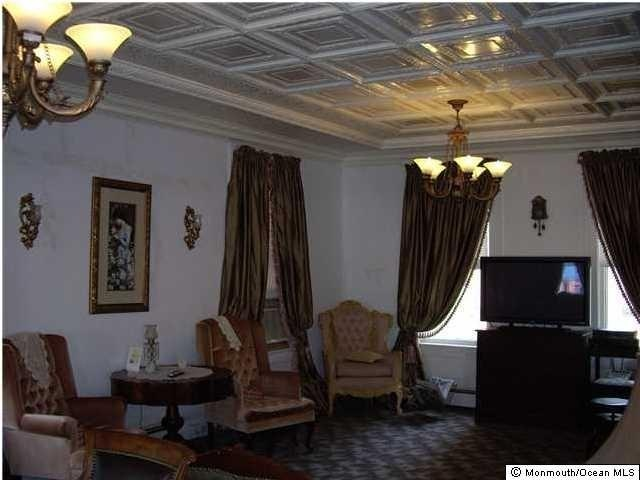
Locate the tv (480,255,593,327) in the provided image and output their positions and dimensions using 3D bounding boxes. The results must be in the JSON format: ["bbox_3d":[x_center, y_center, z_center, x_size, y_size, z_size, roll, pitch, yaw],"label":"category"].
[{"bbox_3d":[2.975,0.704,7.032,0.979,0.674,0.104,-1,-2,26],"label":"tv"}]

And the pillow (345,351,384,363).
[{"bbox_3d":[0.659,1.744,7.718,0.600,0.153,0.275,-1,-3,16],"label":"pillow"}]

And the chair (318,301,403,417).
[{"bbox_3d":[0.611,1.729,7.739,1.219,1.595,1.024,0,-3,-8],"label":"chair"}]

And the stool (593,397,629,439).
[{"bbox_3d":[3.277,1.991,5.863,0.347,0.326,1.131,-2,-4,28],"label":"stool"}]

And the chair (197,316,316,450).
[{"bbox_3d":[-0.603,1.637,6.518,1.470,1.768,1.357,-12,-15,42],"label":"chair"}]

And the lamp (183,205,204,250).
[{"bbox_3d":[-1.572,-0.145,6.469,0.066,0.535,0.279,-2,-3,32],"label":"lamp"}]

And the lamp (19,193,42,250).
[{"bbox_3d":[-2.743,-0.178,4.940,0.050,0.530,0.219,-1,-3,27],"label":"lamp"}]
